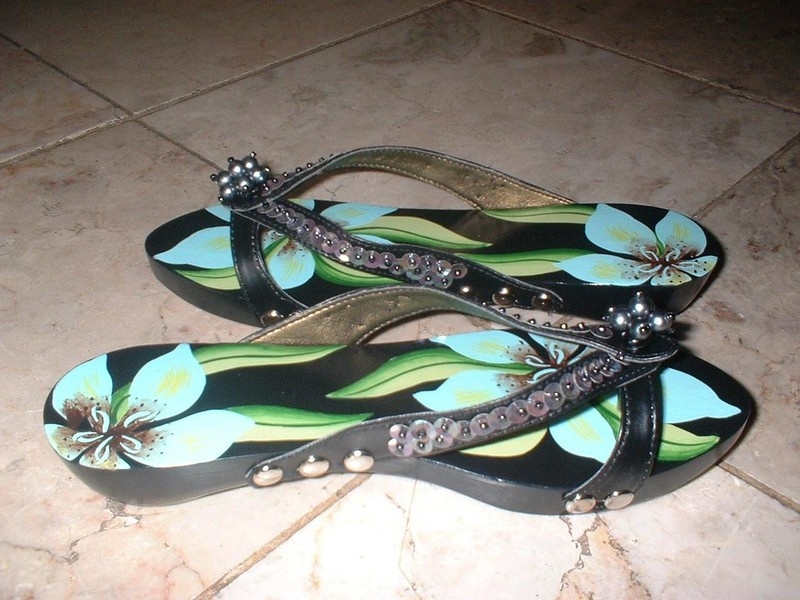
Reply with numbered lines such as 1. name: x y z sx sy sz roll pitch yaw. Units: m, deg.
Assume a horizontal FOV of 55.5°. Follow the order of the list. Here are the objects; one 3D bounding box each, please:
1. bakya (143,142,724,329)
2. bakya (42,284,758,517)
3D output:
1. bakya: 0.153 -0.108 1.382 1.268 0.217 0.324 1 34 -1
2. bakya: -0.030 0.150 1.162 1.352 0.207 0.337 0 32 -6
